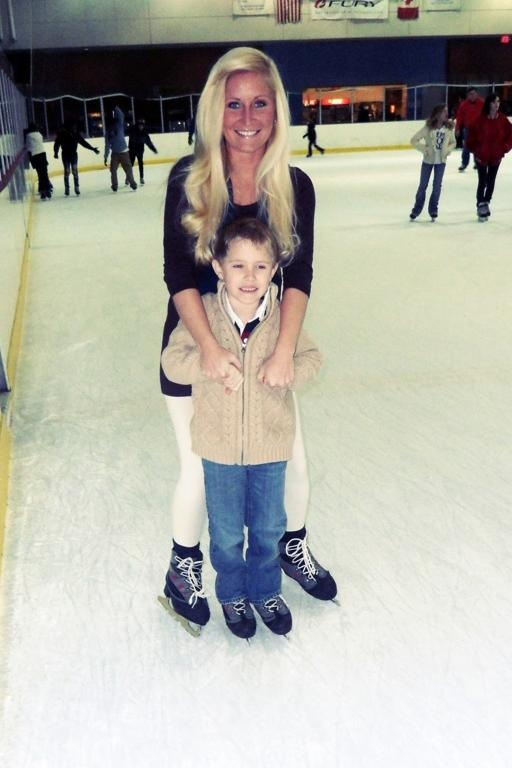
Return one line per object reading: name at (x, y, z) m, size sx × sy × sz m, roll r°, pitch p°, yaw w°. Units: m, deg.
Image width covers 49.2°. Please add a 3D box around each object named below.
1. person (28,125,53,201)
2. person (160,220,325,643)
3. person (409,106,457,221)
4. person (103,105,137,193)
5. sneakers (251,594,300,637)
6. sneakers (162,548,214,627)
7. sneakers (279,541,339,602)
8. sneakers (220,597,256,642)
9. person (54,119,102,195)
person at (-4.254, -4.358, 10.919) m, size 0.354 × 1.455 × 0.762 m, roll -6°, pitch 15°, yaw -17°
person at (-0.015, 0.148, 1.177) m, size 0.249 × 0.944 × 0.271 m, roll 12°, pitch 20°, yaw 42°
person at (2.286, -2.847, 7.321) m, size 0.531 × 1.390 × 0.939 m, roll 3°, pitch 15°, yaw 16°
person at (-2.795, -4.751, 11.286) m, size 0.537 × 1.797 × 0.316 m, roll -14°, pitch 46°, yaw -11°
sneakers at (0.045, 0.543, 1.321) m, size 0.051 × 0.050 × 0.134 m, roll -42°, pitch 34°, yaw 2°
sneakers at (-0.172, 0.512, 1.402) m, size 0.081 × 0.166 × 0.230 m, roll 11°, pitch -13°, yaw -28°
sneakers at (0.123, 0.462, 1.527) m, size 0.086 × 0.096 × 0.239 m, roll -33°, pitch 18°, yaw -6°
sneakers at (-0.037, 0.542, 1.303) m, size 0.055 × 0.113 × 0.044 m, roll -14°, pitch -20°, yaw -9°
person at (-3.929, -4.883, 12.206) m, size 0.806 × 1.637 × 2.279 m, roll -6°, pitch 16°, yaw -16°
